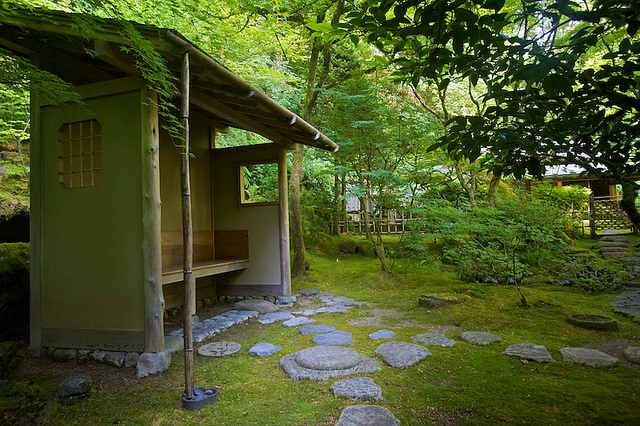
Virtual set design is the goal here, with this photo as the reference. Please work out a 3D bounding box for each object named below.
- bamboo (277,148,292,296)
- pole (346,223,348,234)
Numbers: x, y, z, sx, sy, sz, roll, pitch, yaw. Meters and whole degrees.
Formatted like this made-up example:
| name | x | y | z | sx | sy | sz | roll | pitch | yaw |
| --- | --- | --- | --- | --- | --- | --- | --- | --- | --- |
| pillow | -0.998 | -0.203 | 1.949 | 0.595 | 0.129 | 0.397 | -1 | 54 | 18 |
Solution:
| name | x | y | z | sx | sy | sz | roll | pitch | yaw |
| --- | --- | --- | --- | --- | --- | --- | --- | --- | --- |
| bamboo | -0.628 | 0.448 | 7.813 | 0.236 | 2.294 | 0.211 | 0 | -8 | -13 |
| pole | 1.017 | 0.566 | 15.445 | 0.060 | 0.368 | 0.110 | -2 | 11 | 2 |
